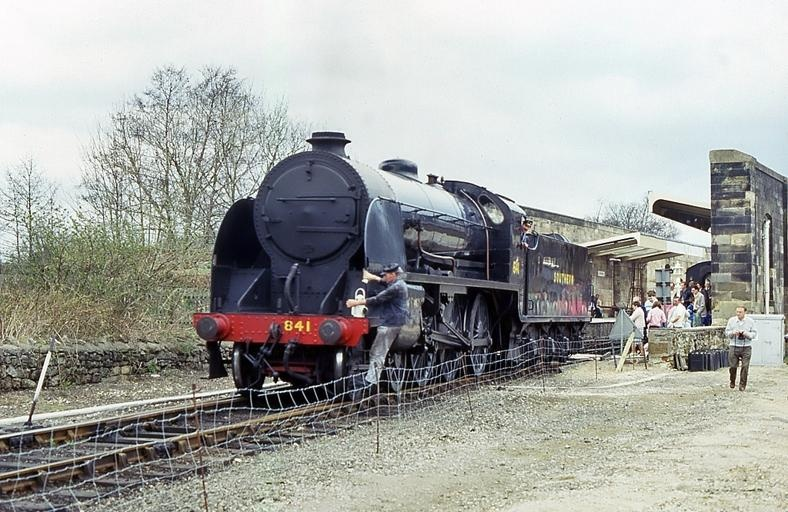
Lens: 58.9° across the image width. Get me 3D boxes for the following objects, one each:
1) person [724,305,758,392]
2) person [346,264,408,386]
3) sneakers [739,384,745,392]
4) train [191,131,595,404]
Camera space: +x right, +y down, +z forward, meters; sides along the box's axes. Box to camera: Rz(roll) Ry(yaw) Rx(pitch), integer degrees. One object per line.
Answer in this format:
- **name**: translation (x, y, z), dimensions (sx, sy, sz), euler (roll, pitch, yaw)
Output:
- **person**: translation (8.360, 2.167, 16.800), dimensions (0.652, 1.951, 1.231), euler (0, -1, 27)
- **person**: translation (-0.231, 1.240, 12.768), dimensions (0.991, 2.208, 0.629), euler (1, 0, 0)
- **sneakers**: translation (8.226, 3.083, 16.379), dimensions (0.114, 0.123, 0.123), euler (-2, -2, 2)
- **train**: translation (0.956, 0.411, 17.376), dimensions (3.747, 4.002, 11.118), euler (-2, -4, 23)
